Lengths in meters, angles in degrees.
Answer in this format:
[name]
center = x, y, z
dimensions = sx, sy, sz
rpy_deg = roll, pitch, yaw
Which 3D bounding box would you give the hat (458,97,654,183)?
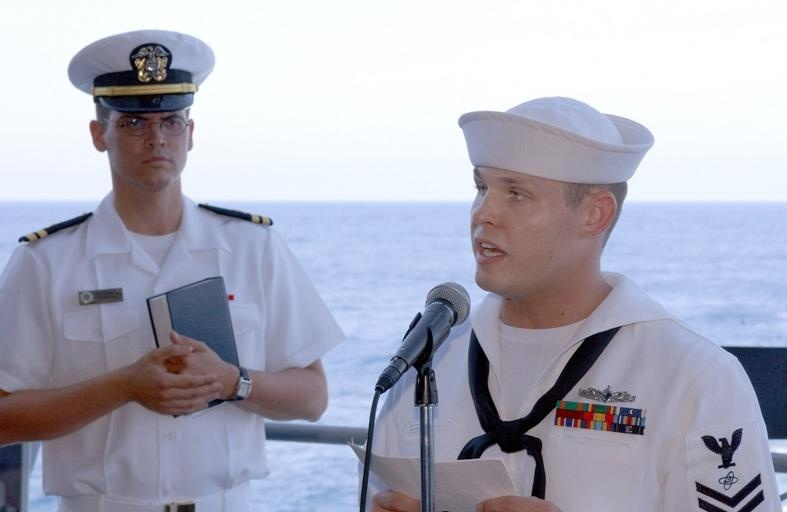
[hat]
center = 0.931, -0.600, 7.008
dimensions = 0.662, 0.254, 0.598
rpy_deg = -3, 13, -35

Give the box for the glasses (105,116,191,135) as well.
[glasses]
center = -1.384, -0.739, 7.411
dimensions = 0.399, 0.119, 0.079
rpy_deg = 2, 9, -8
